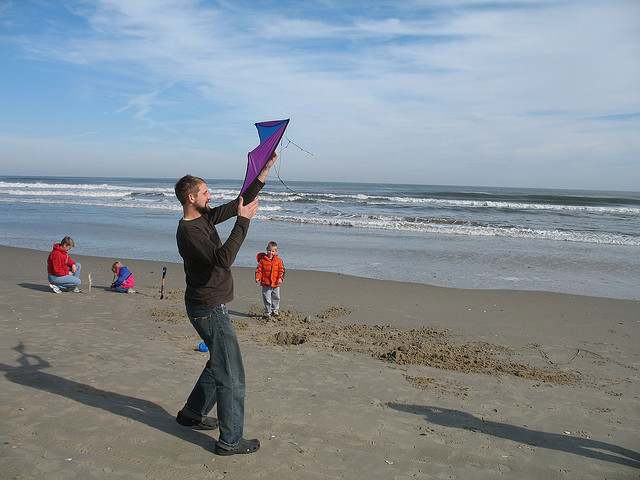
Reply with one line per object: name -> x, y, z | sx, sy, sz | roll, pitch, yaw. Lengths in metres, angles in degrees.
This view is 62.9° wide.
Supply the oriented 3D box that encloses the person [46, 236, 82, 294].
person -> -5.348, 0.526, 10.939 | 0.625, 1.145, 0.937 | 1, 11, -25
